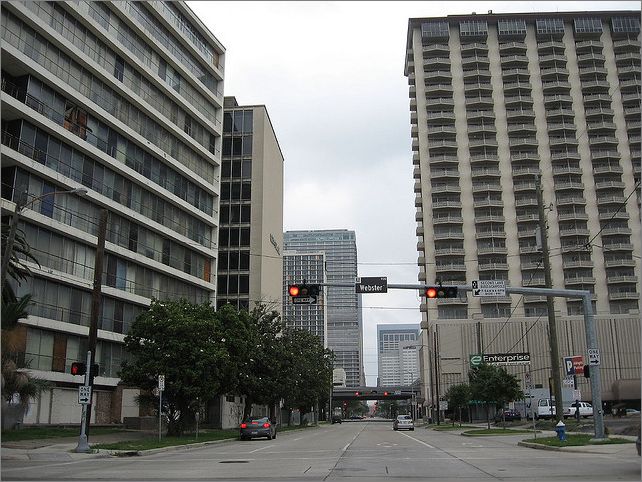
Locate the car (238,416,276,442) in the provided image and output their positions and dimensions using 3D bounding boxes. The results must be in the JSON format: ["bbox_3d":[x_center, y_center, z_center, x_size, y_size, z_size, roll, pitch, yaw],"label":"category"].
[{"bbox_3d":[-5.258,15.766,58.181,2.737,2.028,4.501,-3,-18,1],"label":"car"}]

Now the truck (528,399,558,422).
[{"bbox_3d":[24.565,18.586,76.379,2.315,2.122,1.122,-13,-20,30],"label":"truck"}]

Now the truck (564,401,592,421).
[{"bbox_3d":[26.579,17.513,71.843,2.617,1.850,7.537,-8,-19,18],"label":"truck"}]

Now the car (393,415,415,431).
[{"bbox_3d":[9.092,20.098,76.379,1.844,1.732,2.649,-2,-18,1],"label":"car"}]
